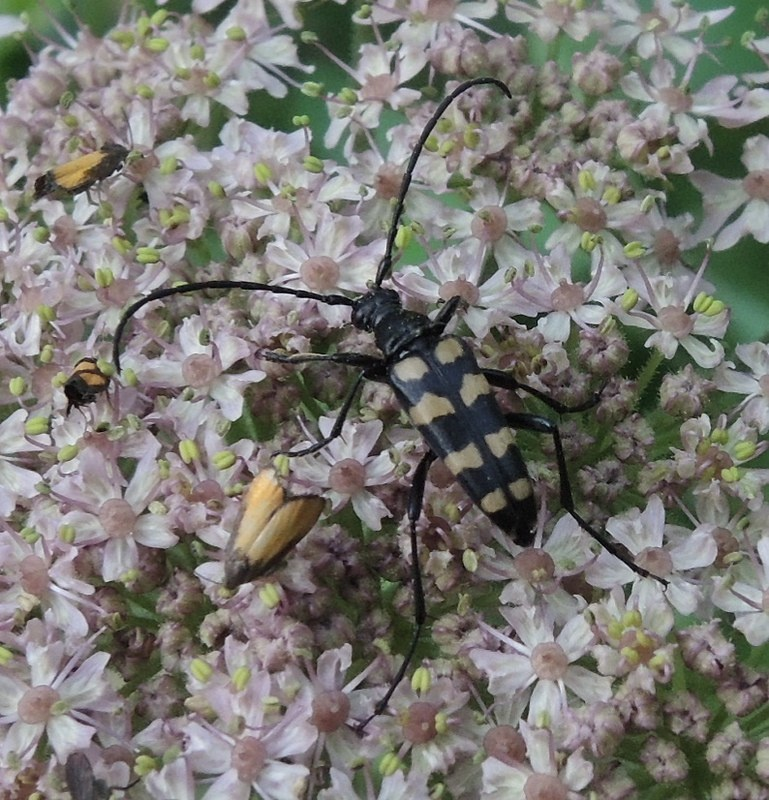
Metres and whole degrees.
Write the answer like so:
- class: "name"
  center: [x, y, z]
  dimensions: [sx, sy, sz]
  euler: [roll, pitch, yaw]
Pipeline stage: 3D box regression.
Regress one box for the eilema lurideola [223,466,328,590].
- class: "eilema lurideola"
  center: [-0.286, 0.331, 2.941]
  dimensions: [0.193, 0.116, 0.325]
  euler: [17, 77, 9]
